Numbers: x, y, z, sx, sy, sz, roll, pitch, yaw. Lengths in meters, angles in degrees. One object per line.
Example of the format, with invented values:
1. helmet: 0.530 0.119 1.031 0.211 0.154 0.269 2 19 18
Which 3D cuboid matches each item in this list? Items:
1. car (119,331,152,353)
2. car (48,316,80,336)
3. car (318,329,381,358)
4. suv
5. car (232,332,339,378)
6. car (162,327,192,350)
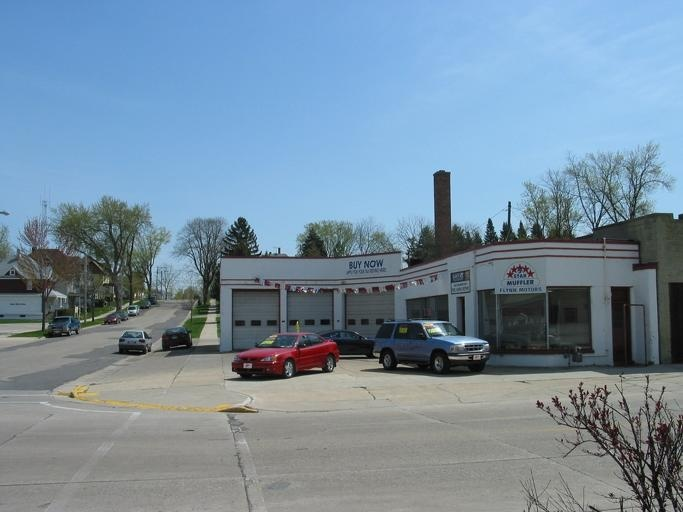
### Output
1. car: -12.739 5.383 40.888 1.056 0.886 2.425 0 0 -4
2. car: -24.139 6.120 56.775 1.303 1.069 2.821 0 -8 -3
3. car: 0.496 4.414 32.816 2.594 0.983 1.137 1 -3 -10
4. suv: 3.470 3.395 24.726 1.966 1.688 3.717 4 -10 -35
5. car: -1.906 3.648 24.271 1.592 1.272 3.632 -6 -11 31
6. car: -10.831 5.441 42.908 1.811 1.423 1.229 -1 -2 -17
